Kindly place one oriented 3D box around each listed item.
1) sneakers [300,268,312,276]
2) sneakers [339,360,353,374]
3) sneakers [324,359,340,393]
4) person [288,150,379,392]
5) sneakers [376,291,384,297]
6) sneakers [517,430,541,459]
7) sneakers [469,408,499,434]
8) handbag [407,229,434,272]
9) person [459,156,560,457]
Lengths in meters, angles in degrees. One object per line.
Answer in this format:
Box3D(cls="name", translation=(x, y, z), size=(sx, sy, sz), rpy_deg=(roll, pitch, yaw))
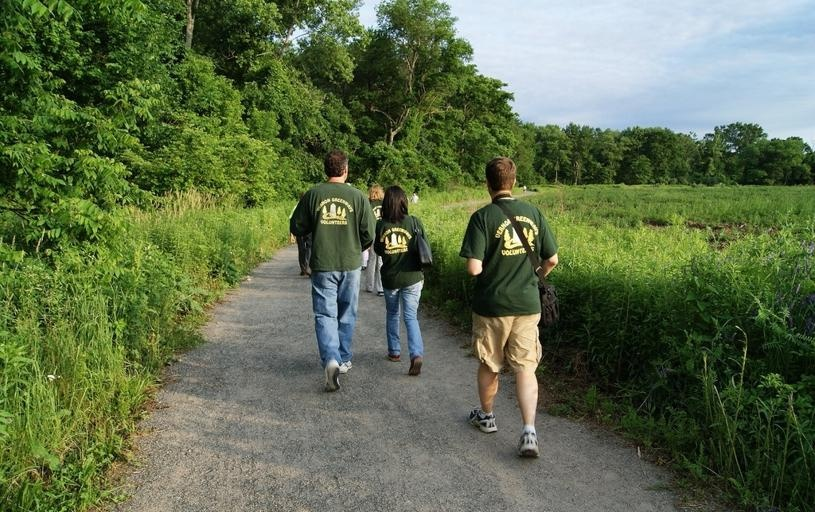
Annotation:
Box3D(cls="sneakers", translation=(-2.480, 0.401, 15.296), size=(0.189, 0.251, 0.570), rpy_deg=(0, -13, -19))
Box3D(cls="sneakers", translation=(-0.978, 1.782, 9.894), size=(0.172, 0.199, 0.449), rpy_deg=(0, -11, 8))
Box3D(cls="sneakers", translation=(-1.131, 1.802, 9.403), size=(0.188, 0.505, 0.206), rpy_deg=(2, 4, -18))
Box3D(cls="person", translation=(-1.108, 0.180, 9.702), size=(1.218, 3.629, 1.077), rpy_deg=(0, 7, -4))
Box3D(cls="sneakers", translation=(-0.614, 0.889, 14.449), size=(0.092, 0.106, 0.259), rpy_deg=(-1, -12, -5))
Box3D(cls="sneakers", translation=(1.599, 2.495, 8.150), size=(0.185, 0.223, 0.451), rpy_deg=(1, -16, 4))
Box3D(cls="sneakers", translation=(1.056, 2.304, 8.668), size=(0.200, 0.248, 0.500), rpy_deg=(-2, 12, -19))
Box3D(cls="handbag", translation=(0.238, -0.093, 10.121), size=(0.303, 0.665, 0.461), rpy_deg=(1, 7, 0))
Box3D(cls="person", translation=(1.335, 0.665, 8.415), size=(1.138, 3.934, 0.848), rpy_deg=(3, 8, 14))
